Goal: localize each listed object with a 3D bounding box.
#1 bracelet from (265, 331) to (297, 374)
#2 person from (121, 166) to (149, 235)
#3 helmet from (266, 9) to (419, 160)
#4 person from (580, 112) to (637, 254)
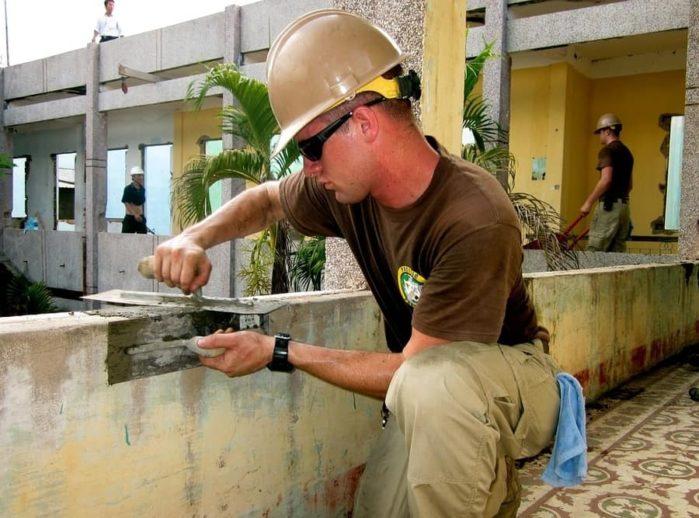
[{"bbox_3d":[-0.286,0.395,2.717,0.095,0.123,0.118,11,16,-7],"label":"bracelet"},{"bbox_3d":[-4.225,-1.182,12.949,0.418,1.312,1.472,0,2,-18],"label":"person"},{"bbox_3d":[-0.078,-0.734,2.781,0.588,0.402,0.471,-36,11,-8],"label":"helmet"},{"bbox_3d":[2.857,-0.870,7.288,0.467,1.582,0.771,1,2,24],"label":"person"}]
